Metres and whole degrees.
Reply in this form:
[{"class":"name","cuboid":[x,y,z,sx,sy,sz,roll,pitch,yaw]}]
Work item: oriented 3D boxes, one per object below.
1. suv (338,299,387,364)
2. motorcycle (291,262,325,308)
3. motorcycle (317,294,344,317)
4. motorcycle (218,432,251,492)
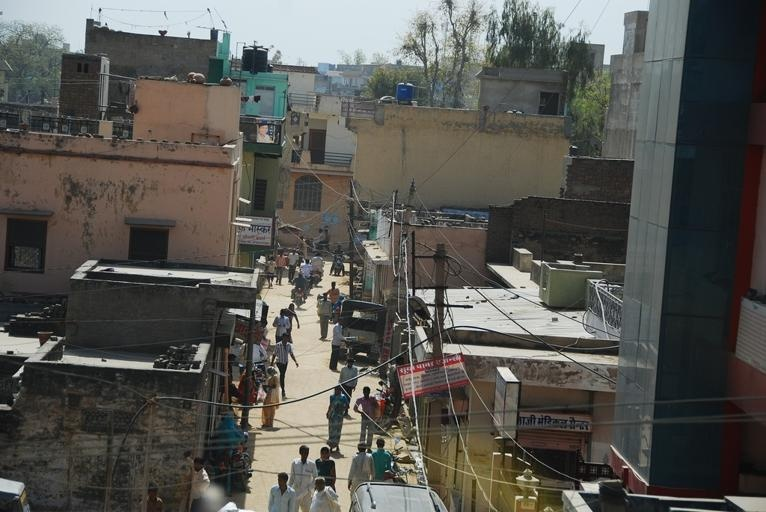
[{"class":"suv","cuboid":[-0.646,2.302,36.447,1.195,1.257,2.061,5,15,-1]},{"class":"motorcycle","cuboid":[-3.094,1.057,44.289,0.856,1.128,1.976,9,22,2]},{"class":"motorcycle","cuboid":[-1.831,1.690,38.425,0.931,0.301,0.460,8,35,33]},{"class":"motorcycle","cuboid":[-3.529,5.006,26.334,0.755,0.977,1.606,1,11,2]}]
